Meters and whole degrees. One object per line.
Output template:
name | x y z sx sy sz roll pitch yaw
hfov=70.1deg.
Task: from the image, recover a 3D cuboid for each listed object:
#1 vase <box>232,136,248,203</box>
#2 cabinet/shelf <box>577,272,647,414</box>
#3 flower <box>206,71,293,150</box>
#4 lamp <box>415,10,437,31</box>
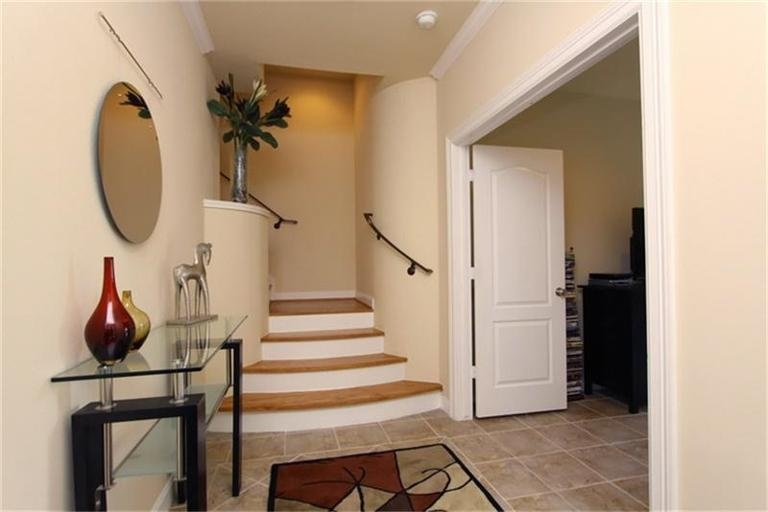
vase | -1.267 -0.754 4.769 0.135 0.544 0.289 -3 11 -15
cabinet/shelf | 2.004 0.700 4.717 0.356 1.097 0.766 -3 11 -12
flower | -1.249 -1.335 5.119 0.653 0.661 1.313 -2 10 -12
lamp | 0.308 -1.709 3.929 0.152 0.081 0.154 0 10 3
